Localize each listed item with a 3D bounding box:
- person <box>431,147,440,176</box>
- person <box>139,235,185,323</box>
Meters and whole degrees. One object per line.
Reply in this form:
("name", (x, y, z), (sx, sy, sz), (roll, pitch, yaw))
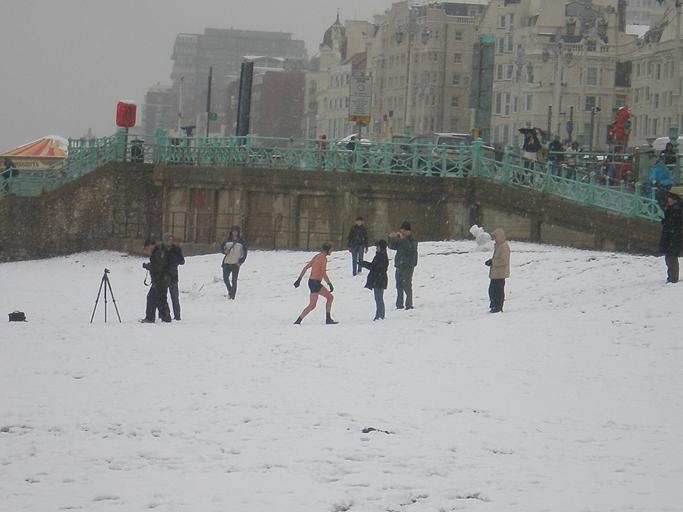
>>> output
("person", (3.385, -3.466, 56.617), (0.356, 0.898, 1.207), (-6, 13, 4))
("person", (-5.036, 0.727, 43.192), (0.756, 2.470, 1.444), (5, 18, 43))
